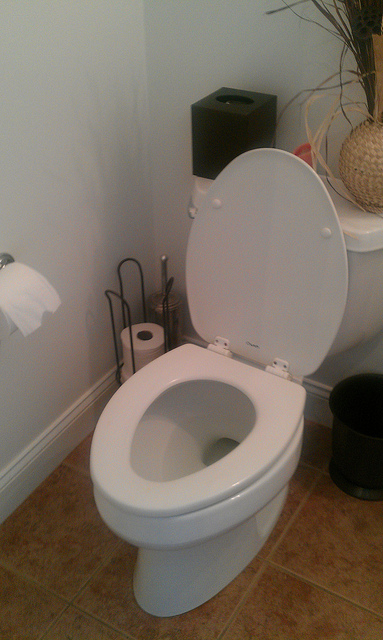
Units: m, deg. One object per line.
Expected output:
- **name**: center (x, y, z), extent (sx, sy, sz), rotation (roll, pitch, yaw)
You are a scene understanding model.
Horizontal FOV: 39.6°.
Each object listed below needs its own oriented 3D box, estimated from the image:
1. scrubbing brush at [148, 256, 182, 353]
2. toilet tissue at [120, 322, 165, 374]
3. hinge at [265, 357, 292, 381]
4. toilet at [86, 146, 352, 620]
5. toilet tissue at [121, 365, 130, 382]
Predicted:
- **scrubbing brush**: center (-0.064, -0.030, 1.538), extent (0.078, 0.281, 0.086), rotation (17, 42, 20)
- **toilet tissue**: center (-0.127, 0.083, 1.522), extent (0.119, 0.144, 0.131), rotation (5, 43, 10)
- **hinge**: center (0.182, 0.108, 1.120), extent (0.043, 0.047, 0.017), rotation (19, -7, 21)
- **toilet**: center (0.015, 0.066, 1.005), extent (0.396, 0.705, 0.548), rotation (20, 33, 37)
- **toilet tissue**: center (-0.189, 0.154, 1.511), extent (0.031, 0.036, 0.037), rotation (3, 18, -3)
